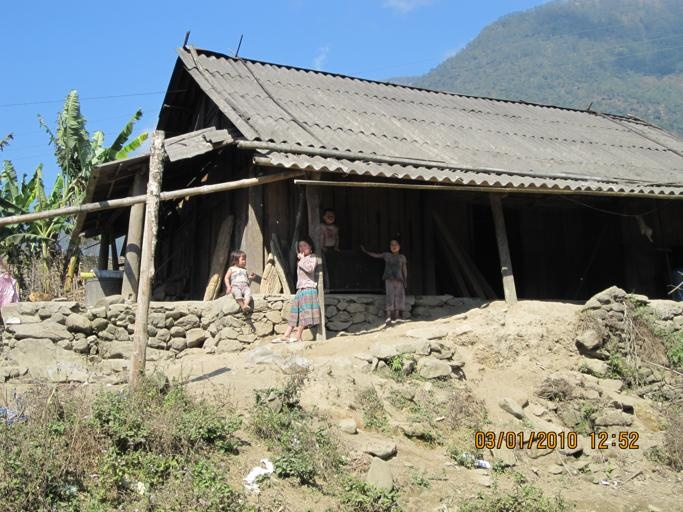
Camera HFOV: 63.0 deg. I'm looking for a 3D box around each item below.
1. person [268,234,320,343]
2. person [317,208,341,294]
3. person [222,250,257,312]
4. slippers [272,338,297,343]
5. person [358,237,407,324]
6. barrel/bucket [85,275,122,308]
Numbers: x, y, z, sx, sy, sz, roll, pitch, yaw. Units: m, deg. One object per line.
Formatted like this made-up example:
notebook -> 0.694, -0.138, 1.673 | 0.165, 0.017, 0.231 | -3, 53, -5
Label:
person -> -0.677, 0.589, 9.624 | 0.624, 1.764, 0.238 | -1, -6, -2
person -> -0.219, -0.089, 10.798 | 0.445, 1.548, 0.366 | 1, -6, -20
person -> -1.779, 0.430, 9.887 | 0.489, 1.120, 0.839 | 0, -6, -10
slippers -> -0.956, 1.444, 9.481 | 0.371, 0.111, 0.150 | 4, -16, -8
person -> 0.907, 0.517, 10.776 | 0.705, 1.619, 0.887 | -2, -6, 3
barrel/bucket -> -5.340, 0.773, 12.398 | 1.053, 0.584, 0.511 | -4, -6, 26
